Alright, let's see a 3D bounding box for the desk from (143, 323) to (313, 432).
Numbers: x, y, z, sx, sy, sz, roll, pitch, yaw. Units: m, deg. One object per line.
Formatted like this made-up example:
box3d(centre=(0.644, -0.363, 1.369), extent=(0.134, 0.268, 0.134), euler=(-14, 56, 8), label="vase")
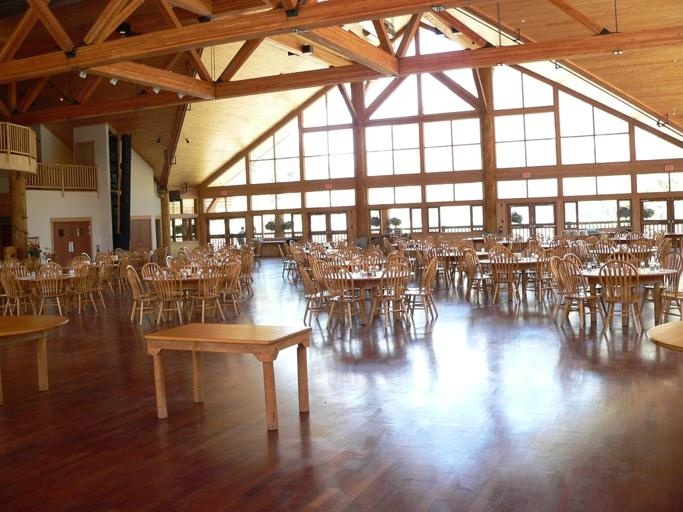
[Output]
box3d(centre=(-0.936, 0.860, 5.055), extent=(1.427, 0.959, 0.865), euler=(-1, 1, 21), label="desk")
